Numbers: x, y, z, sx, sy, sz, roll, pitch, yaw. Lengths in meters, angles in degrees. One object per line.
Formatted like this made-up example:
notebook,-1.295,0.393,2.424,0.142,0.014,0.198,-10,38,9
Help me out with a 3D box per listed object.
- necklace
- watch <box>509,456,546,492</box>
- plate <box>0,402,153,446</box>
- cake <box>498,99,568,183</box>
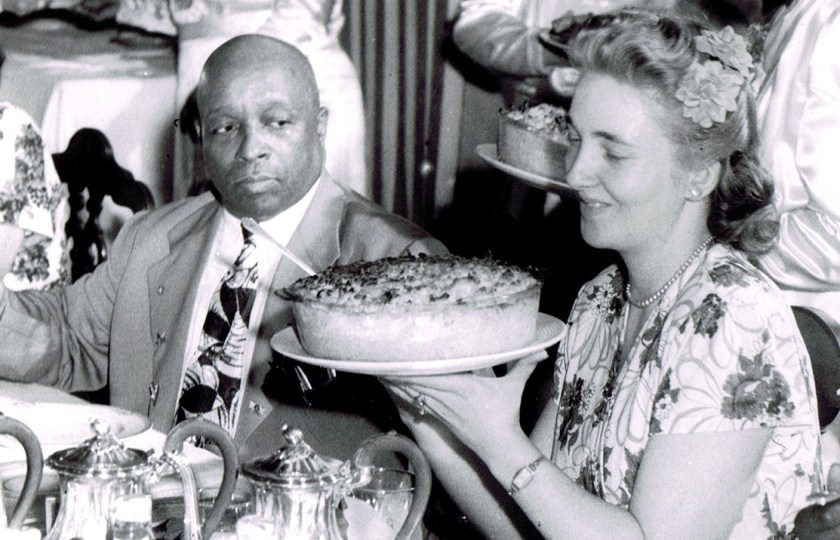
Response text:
necklace,0.583,0.018,2.444,0.014,0.182,0.141,43,5,-19
watch,0.225,0.442,2.269,0.023,0.077,0.058,39,7,-4
plate,-0.844,0.371,2.607,0.207,0.025,0.213,-1,8,-3
cake,0.324,-0.378,3.055,0.234,0.149,0.241,13,19,-13
